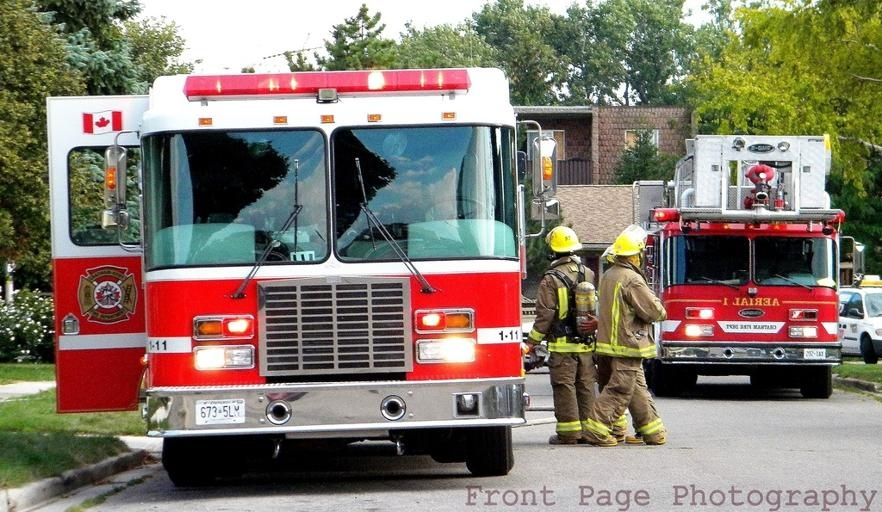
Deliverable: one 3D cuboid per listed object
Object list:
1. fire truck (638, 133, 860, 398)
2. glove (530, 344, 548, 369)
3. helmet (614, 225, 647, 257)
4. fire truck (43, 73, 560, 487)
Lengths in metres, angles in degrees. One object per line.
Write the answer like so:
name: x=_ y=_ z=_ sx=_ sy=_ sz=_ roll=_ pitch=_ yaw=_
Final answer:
fire truck: x=6.365 y=0.342 z=24.518 sx=4.094 sy=5.547 sz=2.827 roll=2 pitch=7 yaw=17
glove: x=1.567 y=1.593 z=18.810 sx=0.293 sy=0.392 sz=0.166 roll=0 pitch=-10 yaw=34
helmet: x=2.993 y=-0.254 z=18.683 sx=0.398 sy=0.260 sz=0.563 roll=-9 pitch=12 yaw=35
fire truck: x=-1.999 y=0.398 z=16.439 sx=6.339 sy=5.868 sz=2.221 roll=0 pitch=6 yaw=2
